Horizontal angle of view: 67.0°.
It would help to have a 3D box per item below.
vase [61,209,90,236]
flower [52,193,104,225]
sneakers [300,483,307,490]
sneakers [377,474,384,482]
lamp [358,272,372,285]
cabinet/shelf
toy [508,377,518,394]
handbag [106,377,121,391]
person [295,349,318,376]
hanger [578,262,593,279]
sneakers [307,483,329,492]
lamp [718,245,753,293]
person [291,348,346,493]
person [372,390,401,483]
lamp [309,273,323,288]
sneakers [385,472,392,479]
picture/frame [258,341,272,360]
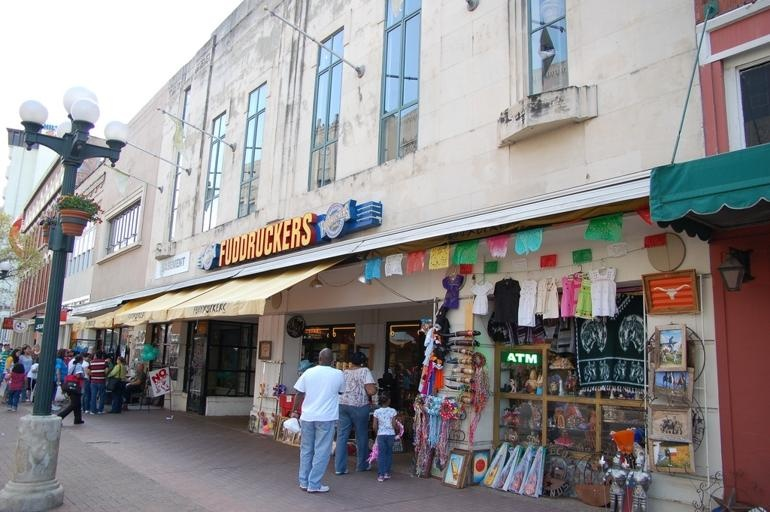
[{"bbox_3d":[-5.680,-0.599,10.622,0.442,0.377,0.465,-1,0,-7],"label":"vase"},{"bbox_3d":[-5.695,-0.925,10.787,0.594,0.459,0.626,11,-8,-32],"label":"flower"},{"bbox_3d":[-1.541,4.269,10.804,0.076,0.116,0.319,7,-14,-31],"label":"sneakers"},{"bbox_3d":[-0.085,4.368,11.482,0.135,0.113,0.154,0,-12,-1],"label":"sneakers"},{"bbox_3d":[-0.469,0.501,13.163,0.293,0.273,0.276,0,-1,11],"label":"lamp"},{"bbox_3d":[3.590,2.812,10.900,2.159,2.206,0.657,-6,-13,39],"label":"cabinet/shelf"},{"bbox_3d":[2.607,2.629,11.828,0.193,0.337,0.211,7,-13,-38],"label":"toy"},{"bbox_3d":[-9.216,4.323,19.688,0.372,0.397,0.168,-3,5,-3],"label":"handbag"},{"bbox_3d":[-2.198,2.981,16.632,0.730,1.044,0.518,2,12,-17],"label":"person"},{"bbox_3d":[3.671,0.260,10.636,0.073,0.263,0.244,6,1,37],"label":"hanger"},{"bbox_3d":[-1.251,4.240,10.723,0.397,0.185,0.151,0,2,-20],"label":"sneakers"},{"bbox_3d":[5.496,0.195,9.084,0.444,0.652,0.306,6,-13,-28],"label":"lamp"},{"bbox_3d":[-1.249,3.195,10.828,0.798,2.256,0.392,-3,-11,18],"label":"person"},{"bbox_3d":[0.014,3.683,12.013,0.444,1.676,0.942,0,-11,0],"label":"person"},{"bbox_3d":[-1.799,0.631,15.064,0.295,0.358,0.321,1,-16,0],"label":"lamp"},{"bbox_3d":[0.060,4.394,11.644,0.057,0.079,0.178,1,4,29],"label":"sneakers"},{"bbox_3d":[-3.519,2.770,17.062,0.051,0.498,0.497,10,-15,-40],"label":"picture/frame"}]
